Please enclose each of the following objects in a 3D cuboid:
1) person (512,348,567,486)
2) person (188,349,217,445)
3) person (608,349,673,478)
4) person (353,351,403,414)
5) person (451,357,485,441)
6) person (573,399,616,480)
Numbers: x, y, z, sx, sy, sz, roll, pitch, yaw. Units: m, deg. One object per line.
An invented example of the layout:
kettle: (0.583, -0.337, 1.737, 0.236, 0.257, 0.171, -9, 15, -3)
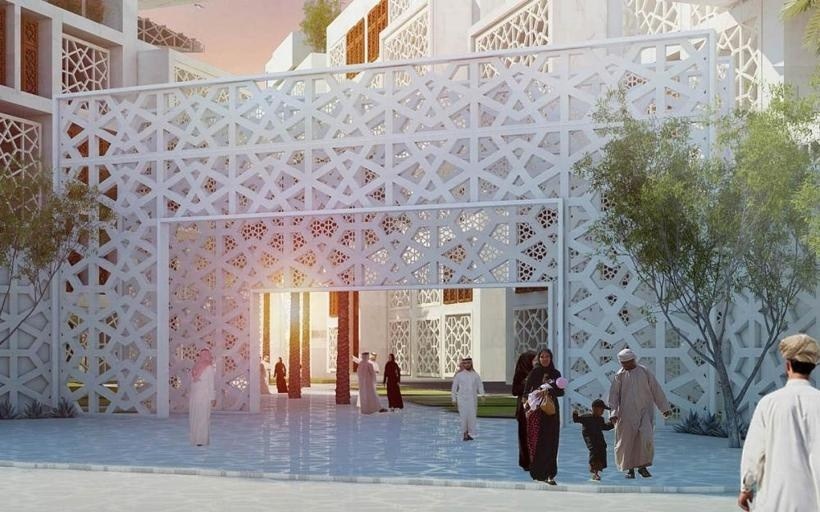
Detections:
person: (2.222, 2.718, 15.748, 0.644, 2.247, 0.788, 3, -12, 3)
person: (-4.191, 2.817, 18.475, 0.469, 1.905, 0.622, 6, -12, -13)
person: (3.856, 2.704, 15.799, 0.970, 2.132, 0.689, 3, -12, 5)
person: (-0.942, 3.395, 24.661, 0.906, 1.701, 1.378, -5, -15, 34)
person: (1.183, 2.985, 19.579, 0.613, 1.818, 1.292, 3, -12, 4)
person: (3.141, 3.100, 15.840, 0.630, 1.442, 1.811, 1, -13, 13)
